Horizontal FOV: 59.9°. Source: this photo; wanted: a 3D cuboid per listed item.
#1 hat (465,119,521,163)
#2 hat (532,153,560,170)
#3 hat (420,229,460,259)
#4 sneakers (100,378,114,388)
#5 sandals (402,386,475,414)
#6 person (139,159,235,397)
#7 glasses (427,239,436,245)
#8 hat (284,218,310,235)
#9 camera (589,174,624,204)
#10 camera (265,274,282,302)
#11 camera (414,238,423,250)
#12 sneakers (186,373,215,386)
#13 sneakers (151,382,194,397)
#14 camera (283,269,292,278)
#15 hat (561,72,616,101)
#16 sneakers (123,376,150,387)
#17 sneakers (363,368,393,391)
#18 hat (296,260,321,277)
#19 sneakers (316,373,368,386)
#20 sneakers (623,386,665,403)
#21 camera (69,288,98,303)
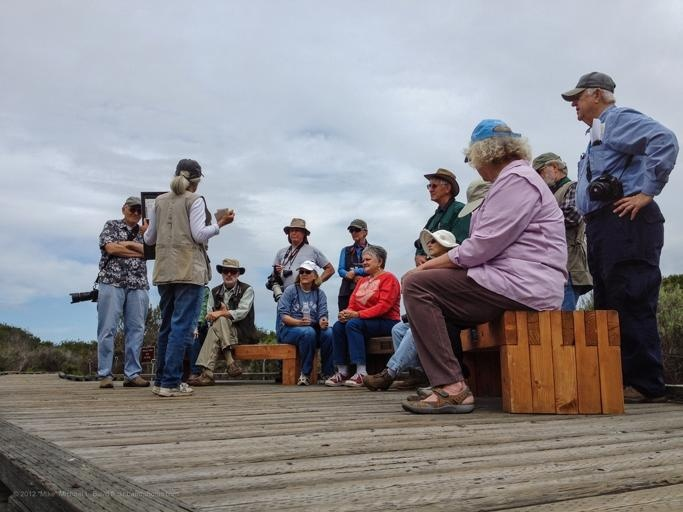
[{"bbox_3d":[1.082,-0.871,4.348,0.269,0.152,0.199,-1,6,38],"label":"hat"},{"bbox_3d":[2.139,-1.003,6.252,0.298,0.161,0.228,-2,-2,4],"label":"hat"},{"bbox_3d":[0.825,-0.132,5.041,0.260,0.133,0.249,-7,-48,22],"label":"hat"},{"bbox_3d":[-2.610,1.400,6.588,0.077,0.098,0.208,4,-9,-23],"label":"sneakers"},{"bbox_3d":[0.665,1.004,4.173,0.505,0.245,0.197,1,-16,4],"label":"sandals"},{"bbox_3d":[-1.526,0.150,5.726,0.848,2.338,0.467,-5,-12,27],"label":"person"},{"bbox_3d":[0.764,-0.126,5.060,0.051,0.030,0.053,-1,-24,14],"label":"glasses"},{"bbox_3d":[-0.609,-0.413,8.539,0.247,0.142,0.270,2,-20,15],"label":"hat"},{"bbox_3d":[2.052,-0.509,4.620,0.217,0.222,0.219,-1,0,-9],"label":"camera"},{"bbox_3d":[-0.865,0.398,7.779,0.211,0.236,0.405,-12,34,-9],"label":"camera"},{"bbox_3d":[0.858,-0.130,6.654,0.043,0.125,0.121,-13,2,5],"label":"camera"},{"bbox_3d":[-1.764,1.540,7.452,0.290,0.143,0.144,5,-7,-13],"label":"sneakers"},{"bbox_3d":[-1.611,1.284,5.661,0.368,0.177,0.150,0,1,-35],"label":"sneakers"},{"bbox_3d":[-0.760,0.243,8.313,0.096,0.104,0.039,6,10,11],"label":"camera"},{"bbox_3d":[2.061,-1.392,4.955,0.342,0.194,0.220,5,8,28],"label":"hat"},{"bbox_3d":[-2.418,1.455,6.894,0.352,0.151,0.132,-1,-3,-2],"label":"sneakers"},{"bbox_3d":[0.378,1.224,5.925,0.376,0.190,0.137,14,11,-33],"label":"sneakers"},{"bbox_3d":[-0.403,0.149,7.869,0.206,0.233,0.349,-5,-13,24],"label":"hat"},{"bbox_3d":[0.016,1.442,6.877,0.586,0.227,0.226,2,-11,2],"label":"sneakers"},{"bbox_3d":[2.281,1.035,4.441,0.236,0.172,0.084,-12,-6,16],"label":"sneakers"},{"bbox_3d":[-3.004,0.454,6.920,0.239,0.163,0.527,7,-14,-33],"label":"camera"}]
